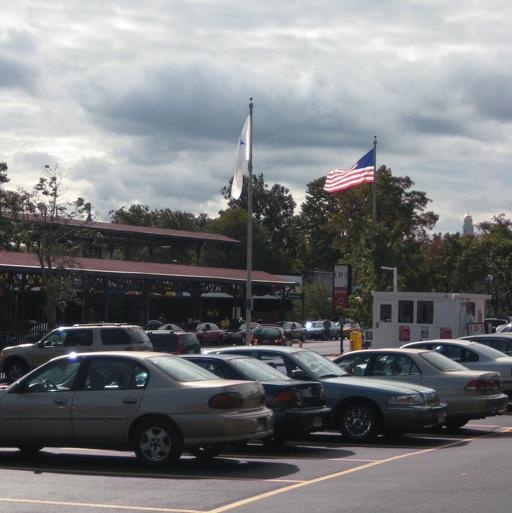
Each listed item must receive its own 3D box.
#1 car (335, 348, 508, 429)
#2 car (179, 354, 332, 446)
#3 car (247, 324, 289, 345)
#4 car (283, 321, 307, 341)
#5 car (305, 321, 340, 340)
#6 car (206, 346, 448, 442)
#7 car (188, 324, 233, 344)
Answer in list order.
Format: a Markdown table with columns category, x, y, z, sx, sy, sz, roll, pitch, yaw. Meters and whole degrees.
| category | x | y | z | sx | sy | sz | roll | pitch | yaw |
| --- | --- | --- | --- | --- | --- | --- | --- | --- | --- |
| car | 2.799 | 2.195 | 16.236 | 2.929 | 0.928 | 1.249 | 0 | -3 | 23 |
| car | -0.189 | 2.042 | 14.176 | 2.496 | 0.810 | 1.075 | 0 | -3 | 24 |
| car | 0.630 | 3.714 | 44.533 | 1.606 | 0.796 | 2.615 | 2 | -2 | -1 |
| car | 2.298 | 4.490 | 57.476 | 0.961 | 0.842 | 2.089 | -3 | -10 | 20 |
| car | 4.604 | 5.219 | 66.846 | 1.274 | 1.025 | 2.245 | -5 | -10 | 39 |
| car | 0.963 | 2.239 | 15.136 | 3.934 | 1.155 | 1.557 | -3 | -2 | 22 |
| car | -2.609 | 4.347 | 52.476 | 1.341 | 1.038 | 2.193 | -4 | -10 | 34 |
